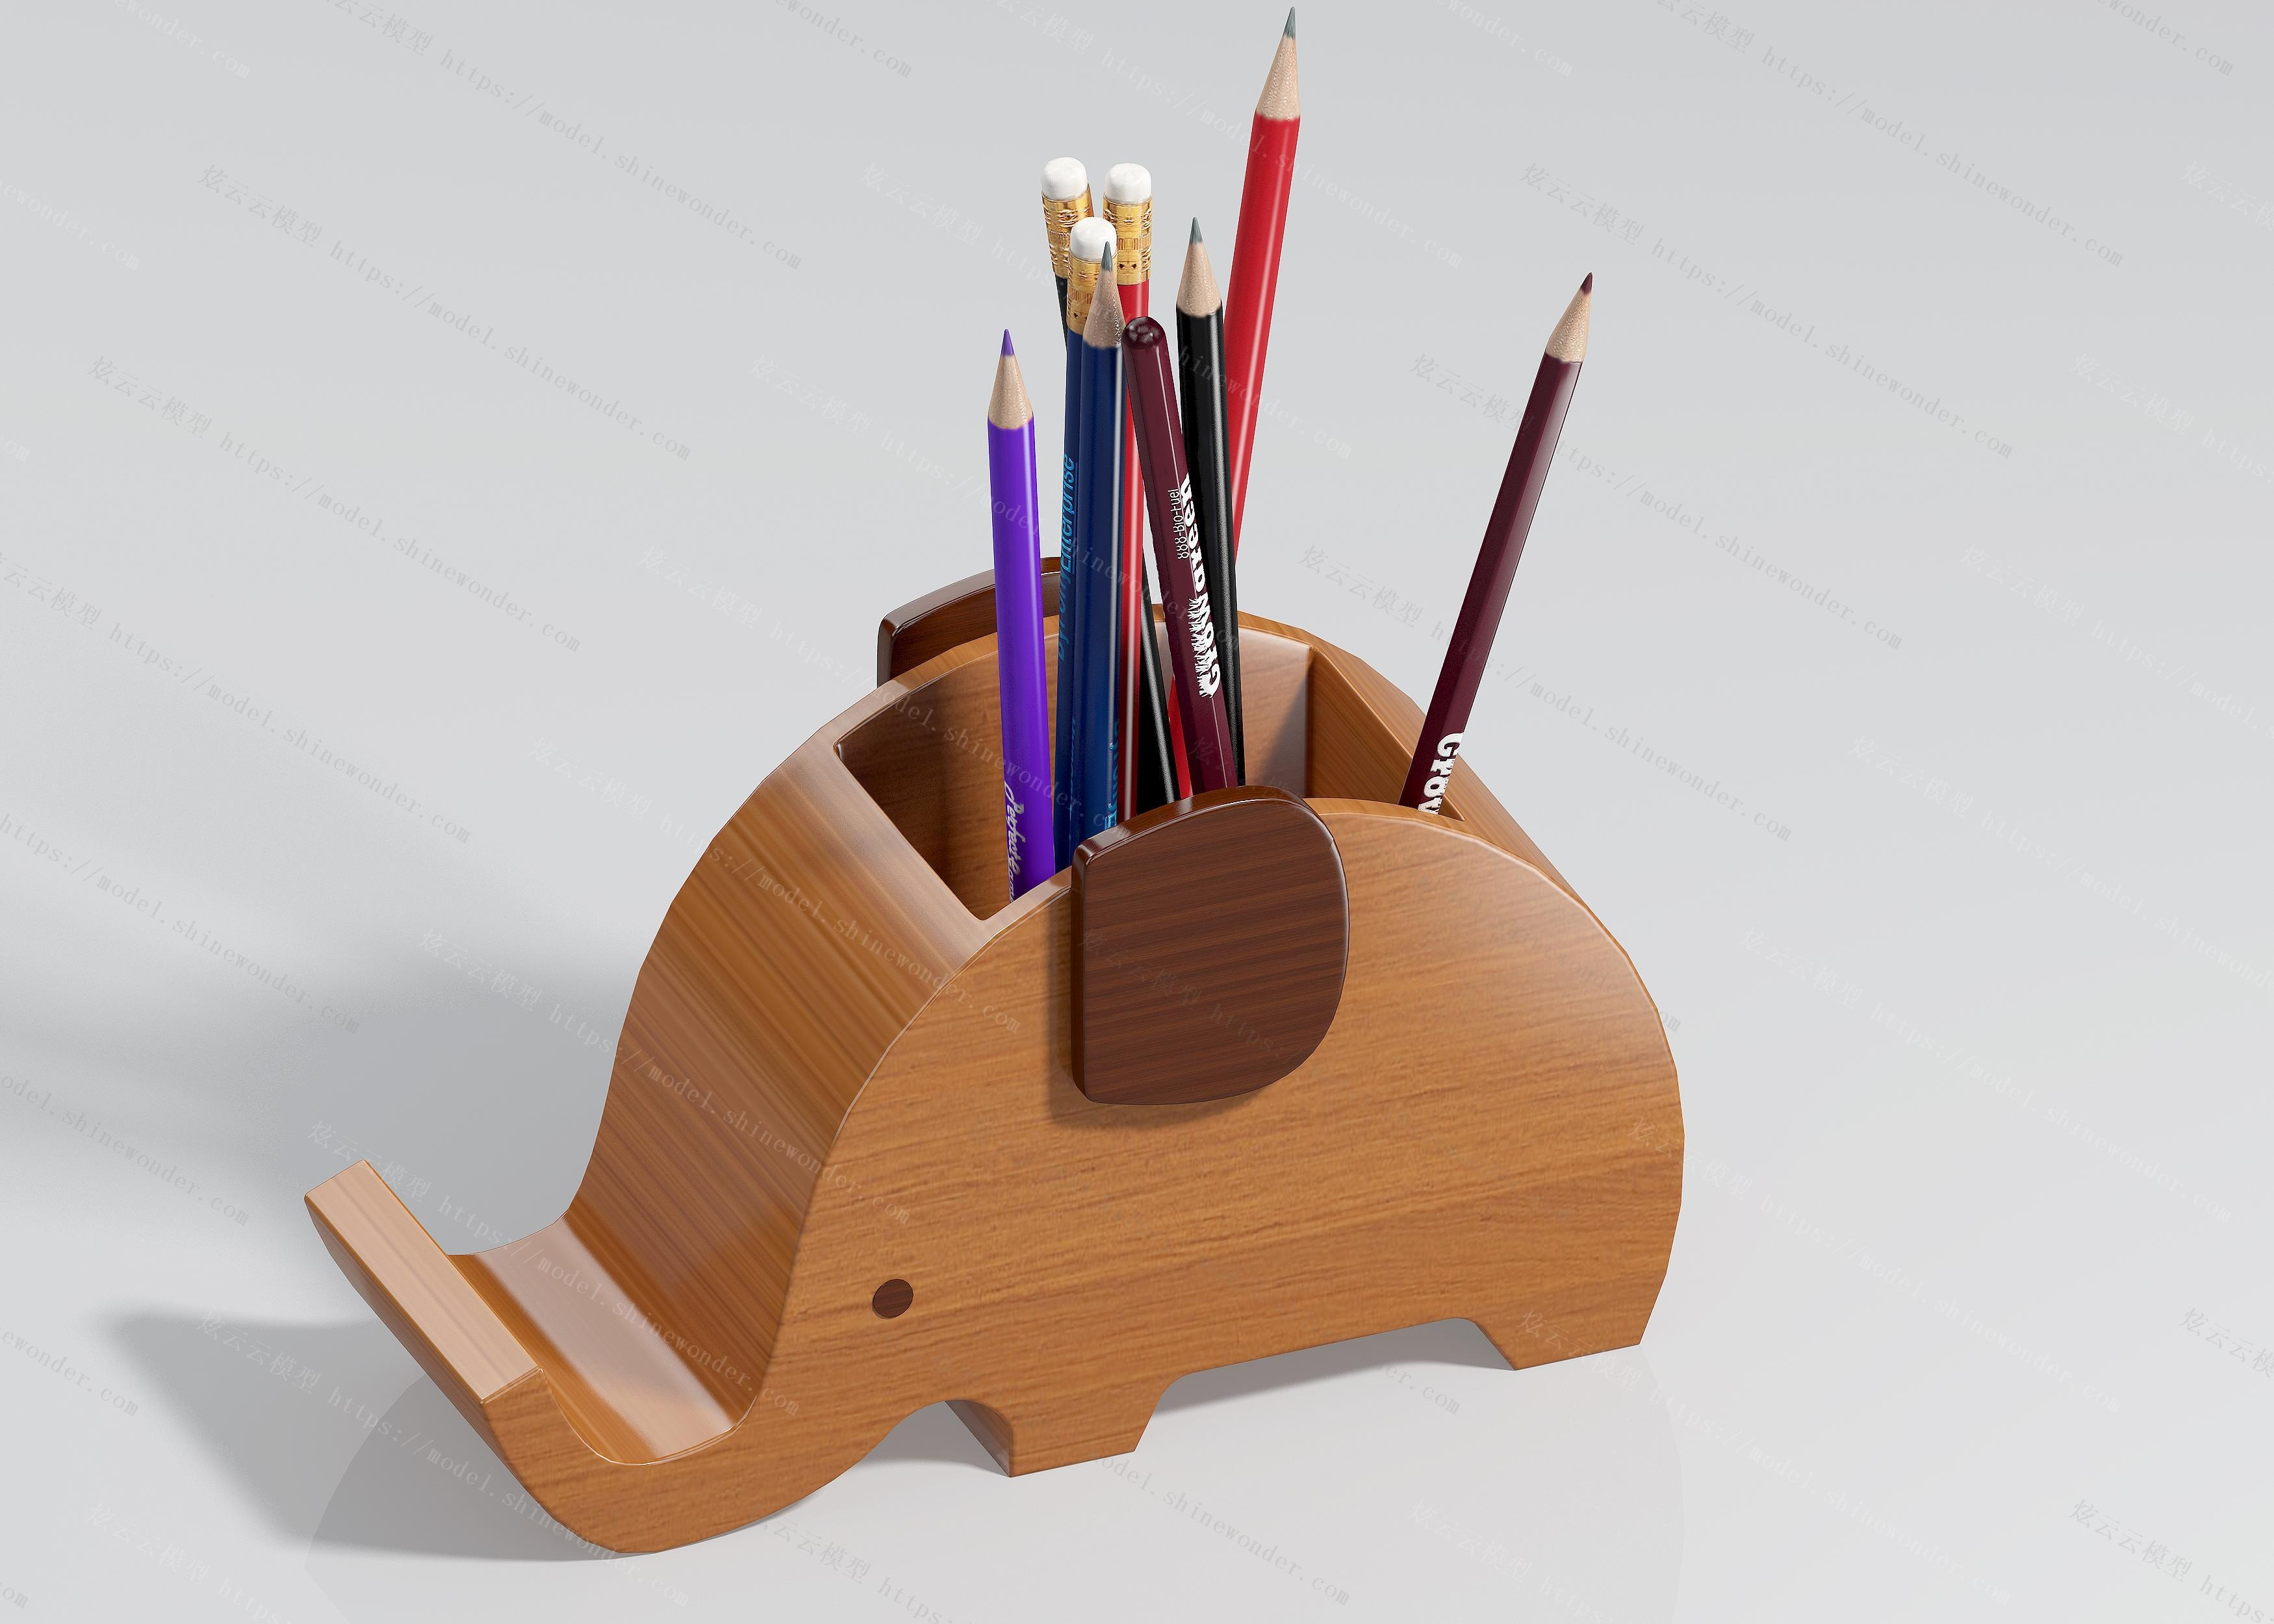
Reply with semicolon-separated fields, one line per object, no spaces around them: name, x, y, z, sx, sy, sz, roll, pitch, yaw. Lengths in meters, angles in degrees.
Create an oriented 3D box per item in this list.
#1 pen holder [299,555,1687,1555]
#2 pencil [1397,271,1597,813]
pen holder;-0.083;0.124;1.677;0.871;0.523;0.393;-12;37;-17
pencil;0.165;-0.108;1.262;0.021;0.298;0.021;16;19;2
